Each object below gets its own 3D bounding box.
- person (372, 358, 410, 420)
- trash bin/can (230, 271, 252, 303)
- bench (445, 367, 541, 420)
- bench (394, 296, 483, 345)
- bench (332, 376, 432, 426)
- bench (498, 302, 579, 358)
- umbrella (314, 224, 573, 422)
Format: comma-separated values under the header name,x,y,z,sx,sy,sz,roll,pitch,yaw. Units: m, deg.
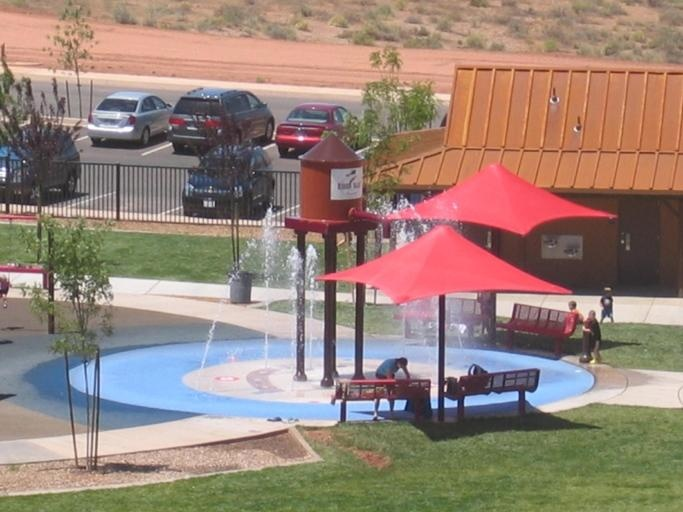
name,x,y,z,sx,sy,sz,roll,pitch,yaw
person,1.254,3.391,47.224,0.931,1.674,0.685,13,9,42
trash bin/can,-2.891,1.002,54.505,0.626,0.937,0.453,0,5,-6
bench,3.636,3.208,46.996,2.934,1.588,1.153,-3,16,-15
bench,2.807,1.858,53.131,1.590,1.042,1.571,0,10,-2
bench,1.049,3.645,46.603,2.352,1.106,0.832,0,5,-3
bench,5.338,2.112,51.389,2.022,1.109,0.687,8,13,34
umbrella,1.941,1.901,48.492,5.229,4.073,5.100,-4,15,-16
